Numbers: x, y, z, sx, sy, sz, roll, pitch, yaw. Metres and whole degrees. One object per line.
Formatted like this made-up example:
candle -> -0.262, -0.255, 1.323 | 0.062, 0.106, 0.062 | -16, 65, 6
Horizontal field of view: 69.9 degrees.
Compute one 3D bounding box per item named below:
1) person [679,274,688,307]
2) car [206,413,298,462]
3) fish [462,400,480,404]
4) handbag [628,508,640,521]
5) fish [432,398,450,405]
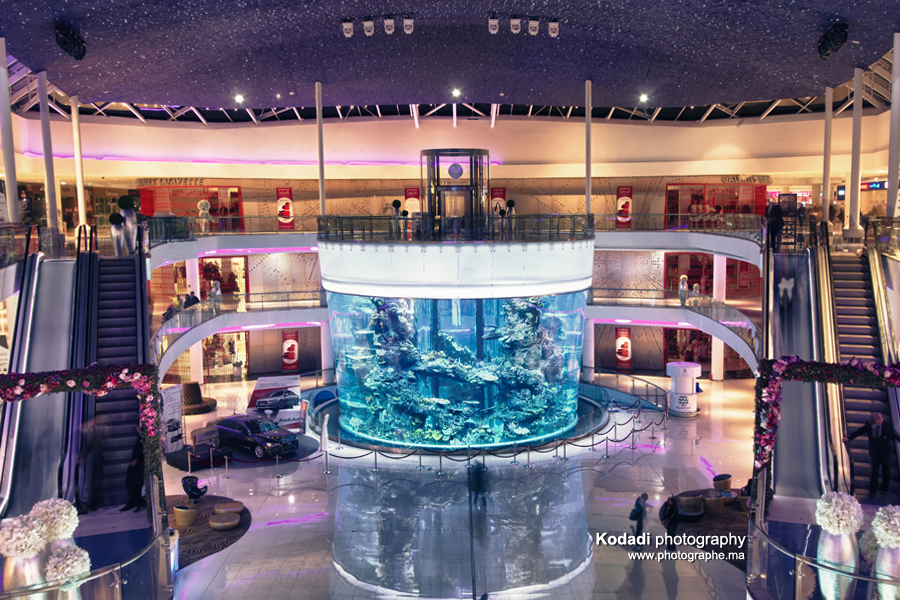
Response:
person -> 9.790, -0.403, 26.948 | 0.346, 1.056, 1.336 | 1, 7, 19
car -> -6.270, 4.323, 20.728 | 2.635, 0.877, 1.219 | 3, 4, 41
fish -> 0.705, 3.237, 20.475 | 0.666, 0.167, 0.172 | 0, 1, 3
handbag -> 4.228, 4.874, 14.680 | 0.136, 0.258, 0.260 | -4, 7, -23
fish -> -0.286, 3.209, 20.590 | 0.309, 0.105, 0.314 | 1, 9, 2
